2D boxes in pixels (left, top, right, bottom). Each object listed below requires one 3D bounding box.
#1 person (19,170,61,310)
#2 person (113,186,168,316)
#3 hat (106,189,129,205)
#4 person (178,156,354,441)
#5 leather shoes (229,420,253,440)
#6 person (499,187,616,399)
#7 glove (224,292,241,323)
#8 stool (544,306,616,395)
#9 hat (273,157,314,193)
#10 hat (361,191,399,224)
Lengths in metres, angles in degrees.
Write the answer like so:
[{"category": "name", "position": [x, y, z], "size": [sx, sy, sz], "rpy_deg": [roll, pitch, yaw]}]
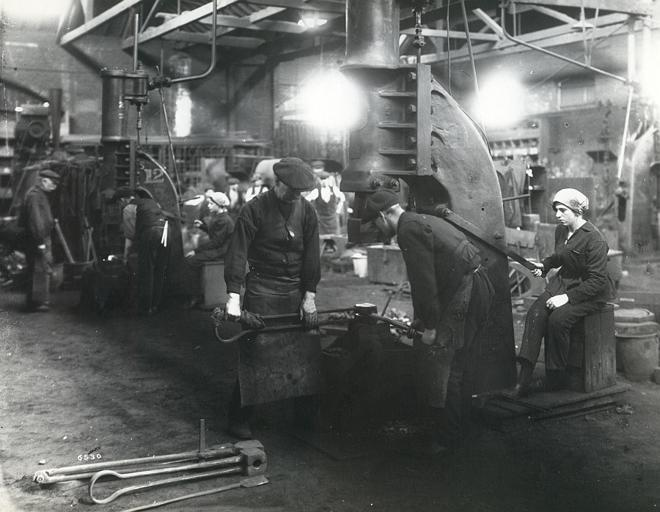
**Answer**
[{"category": "person", "position": [-5.328, -0.258, 13.804], "size": [0.558, 2.372, 0.792], "rpy_deg": [-1, 12, -1]}, {"category": "person", "position": [-3.421, -0.116, 13.708], "size": [0.934, 2.225, 0.679], "rpy_deg": [9, 15, 40]}, {"category": "hat", "position": [-3.956, -1.121, 13.969], "size": [0.385, 0.376, 0.265], "rpy_deg": [-5, 15, -39]}, {"category": "person", "position": [-0.622, 0.485, 8.121], "size": [1.085, 3.029, 0.790], "rpy_deg": [-3, 12, -11]}, {"category": "leather shoes", "position": [-0.979, 1.888, 8.249], "size": [0.118, 0.247, 0.355], "rpy_deg": [-3, 9, -34]}, {"category": "person", "position": [2.740, 0.435, 8.989], "size": [1.168, 2.398, 0.763], "rpy_deg": [-7, 13, -28]}, {"category": "glove", "position": [-1.026, 0.527, 7.938], "size": [0.167, 0.273, 0.271], "rpy_deg": [-2, 12, -7]}, {"category": "stool", "position": [3.076, 1.116, 9.182], "size": [0.734, 0.956, 0.689], "rpy_deg": [-4, 2, -43]}, {"category": "hat", "position": [-0.389, -0.853, 7.971], "size": [0.438, 0.350, 0.312], "rpy_deg": [-1, 12, -4]}, {"category": "hat", "position": [0.564, -0.554, 8.241], "size": [0.366, 0.378, 0.285], "rpy_deg": [16, 19, 34]}]
